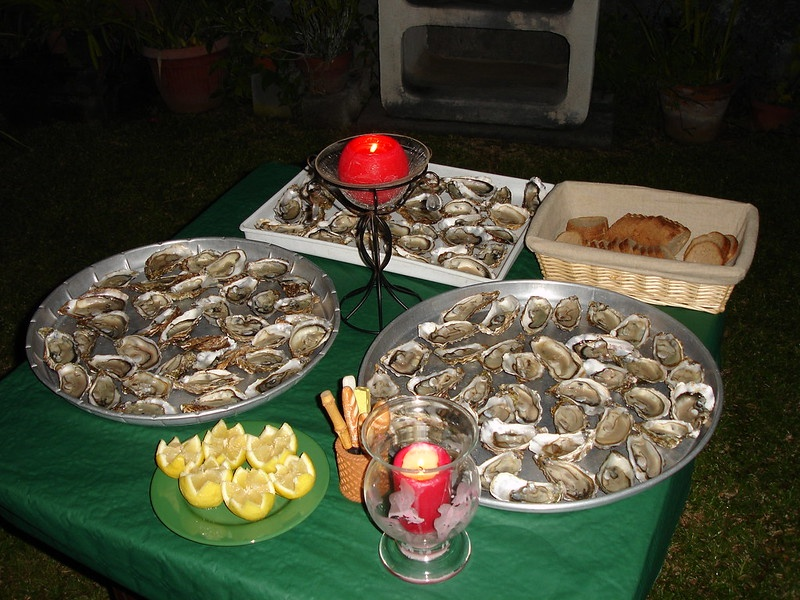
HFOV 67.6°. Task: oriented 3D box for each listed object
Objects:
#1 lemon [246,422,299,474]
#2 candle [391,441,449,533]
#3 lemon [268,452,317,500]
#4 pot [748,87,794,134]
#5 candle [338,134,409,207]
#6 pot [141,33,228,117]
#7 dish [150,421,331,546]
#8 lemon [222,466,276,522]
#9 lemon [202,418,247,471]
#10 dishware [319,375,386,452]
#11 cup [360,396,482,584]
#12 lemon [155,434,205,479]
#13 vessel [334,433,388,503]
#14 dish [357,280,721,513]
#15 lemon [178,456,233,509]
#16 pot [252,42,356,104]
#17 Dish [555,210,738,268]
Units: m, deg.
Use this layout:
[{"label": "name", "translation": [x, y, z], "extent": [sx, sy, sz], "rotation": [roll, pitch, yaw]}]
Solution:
[{"label": "lemon", "translation": [-0.352, 0.409, 1.662], "extent": [0.140, 0.091, 0.155], "rotation": [-17, 24, -16]}, {"label": "candle", "translation": [0.050, 0.413, 1.360], "extent": [0.131, 0.220, 0.151], "rotation": [1, 45, 5]}, {"label": "lemon", "translation": [-0.276, 0.463, 1.591], "extent": [0.123, 0.074, 0.111], "rotation": [-8, 58, 35]}, {"label": "pot", "translation": [3.133, -1.599, 5.037], "extent": [0.347, 0.252, 0.301], "rotation": [12, 15, 9]}, {"label": "candle", "translation": [-0.075, -0.391, 1.863], "extent": [0.238, 0.166, 0.238], "rotation": [20, 37, 31]}, {"label": "pot", "translation": [-2.009, -2.125, 5.650], "extent": [0.634, 0.473, 0.622], "rotation": [0, 35, 0]}, {"label": "dish", "translation": [-0.415, 0.503, 1.575], "extent": [0.461, 0.035, 0.279], "rotation": [-16, 46, -13]}, {"label": "lemon", "translation": [-0.391, 0.495, 1.546], "extent": [0.129, 0.042, 0.115], "rotation": [26, 51, 26]}, {"label": "lemon", "translation": [-0.485, 0.407, 1.673], "extent": [0.132, 0.075, 0.111], "rotation": [-9, 43, -10]}, {"label": "dishware", "translation": [-0.128, 0.270, 1.486], "extent": [0.115, 0.204, 0.058], "rotation": [-8, 16, 1]}, {"label": "cup", "translation": [0.056, 0.470, 1.455], "extent": [0.261, 0.389, 0.272], "rotation": [-2, 27, 1]}, {"label": "lemon", "translation": [-0.599, 0.428, 1.630], "extent": [0.119, 0.082, 0.129], "rotation": [-4, 15, -29]}, {"label": "vessel", "translation": [-0.104, 0.421, 1.595], "extent": [0.144, 0.162, 0.150], "rotation": [9, 25, 10]}, {"label": "dish", "translation": [0.438, 0.277, 1.816], "extent": [0.767, 0.080, 0.759], "rotation": [21, 46, 25]}, {"label": "lemon", "translation": [-0.504, 0.471, 1.539], "extent": [0.111, 0.044, 0.113], "rotation": [37, 46, 26]}, {"label": "pot", "translation": [-0.672, -2.126, 5.529], "extent": [0.537, 0.313, 0.533], "rotation": [-5, 31, 3]}, {"label": "Dish", "translation": [0.929, -0.232, 2.238], "extent": [0.501, 0.145, 0.293], "rotation": [7, 22, 24]}]
